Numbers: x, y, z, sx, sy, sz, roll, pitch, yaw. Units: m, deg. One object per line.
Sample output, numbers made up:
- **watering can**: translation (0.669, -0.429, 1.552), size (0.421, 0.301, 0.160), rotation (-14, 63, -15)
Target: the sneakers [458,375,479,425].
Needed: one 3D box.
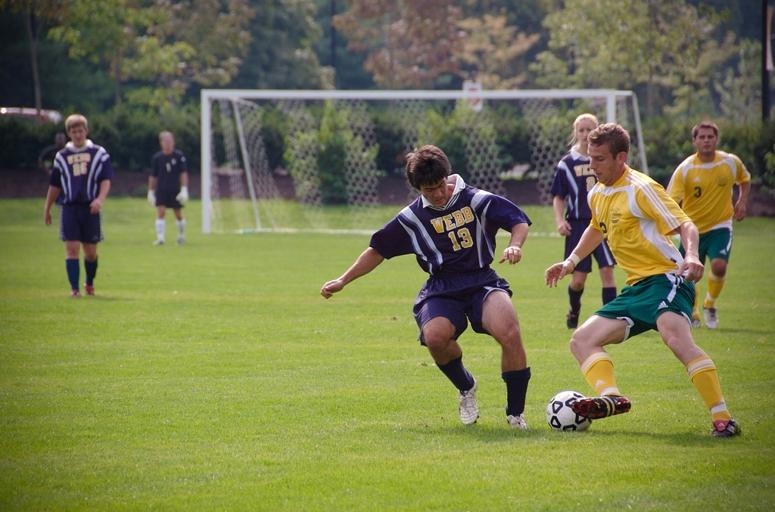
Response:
- **sneakers**: translation (0.790, 1.432, 13.455), size (0.204, 0.394, 0.297), rotation (1, 6, 3)

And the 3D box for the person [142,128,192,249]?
- **person**: translation (-2.416, -0.789, 15.223), size (0.354, 1.262, 1.536), rotation (-1, 6, -11)

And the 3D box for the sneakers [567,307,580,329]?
- **sneakers**: translation (2.139, 0.723, 15.985), size (0.095, 0.261, 0.115), rotation (6, 12, 2)

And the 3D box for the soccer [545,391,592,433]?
- **soccer**: translation (1.730, 1.541, 13.354), size (0.379, 0.426, 0.384), rotation (4, -16, 5)

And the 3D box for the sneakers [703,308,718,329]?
- **sneakers**: translation (3.740, 0.715, 16.015), size (0.096, 0.289, 0.130), rotation (-2, -32, 4)

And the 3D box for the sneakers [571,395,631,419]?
- **sneakers**: translation (2.030, 1.442, 13.199), size (0.428, 0.249, 0.184), rotation (-5, -36, -2)

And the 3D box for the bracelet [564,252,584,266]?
- **bracelet**: translation (1.834, 0.069, 13.653), size (0.172, 0.052, 0.173), rotation (-28, 28, 3)

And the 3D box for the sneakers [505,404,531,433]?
- **sneakers**: translation (1.247, 1.564, 13.300), size (0.216, 0.214, 0.205), rotation (0, 6, -5)

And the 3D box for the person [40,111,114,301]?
- **person**: translation (-3.666, -0.560, 16.135), size (0.661, 2.047, 0.609), rotation (4, 7, 29)

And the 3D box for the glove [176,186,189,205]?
- **glove**: translation (-2.168, -0.650, 14.572), size (0.141, 0.185, 0.062), rotation (21, 9, 38)
